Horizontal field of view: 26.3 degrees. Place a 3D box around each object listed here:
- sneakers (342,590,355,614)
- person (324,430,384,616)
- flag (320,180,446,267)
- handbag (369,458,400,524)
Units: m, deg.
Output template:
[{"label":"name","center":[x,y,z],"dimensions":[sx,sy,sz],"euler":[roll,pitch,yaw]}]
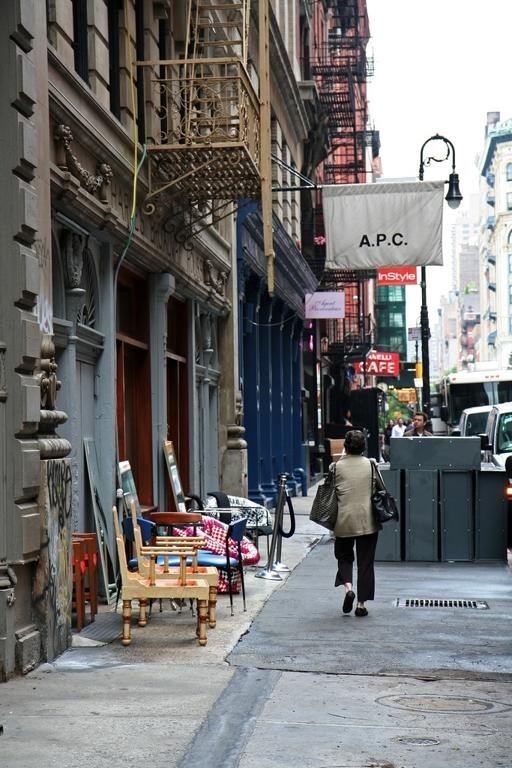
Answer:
[{"label":"sneakers","center":[0.772,1.804,9.089],"dimensions":[0.061,0.257,0.100],"euler":[1,32,-7]},{"label":"person","center":[0.844,1.162,9.445],"dimensions":[0.481,1.480,0.565],"euler":[1,1,34]},{"label":"flag","center":[2.089,-2.566,17.542],"dimensions":[2.109,2.418,0.301],"euler":[0,6,14]},{"label":"handbag","center":[1.105,0.957,9.484],"dimensions":[0.234,0.576,0.538],"euler":[1,1,7]}]
